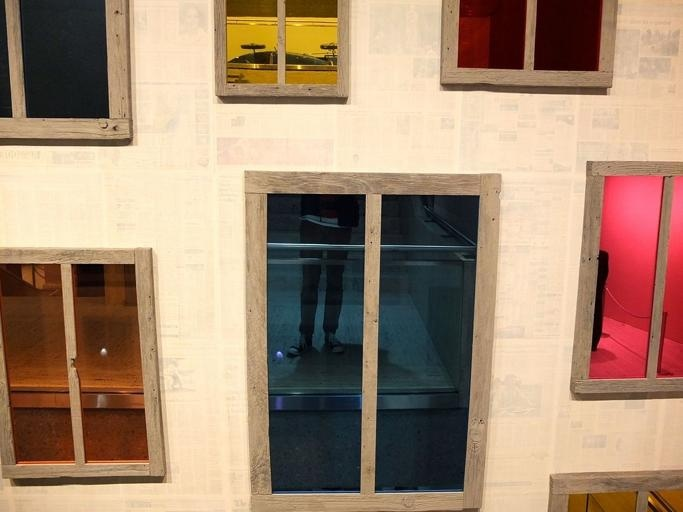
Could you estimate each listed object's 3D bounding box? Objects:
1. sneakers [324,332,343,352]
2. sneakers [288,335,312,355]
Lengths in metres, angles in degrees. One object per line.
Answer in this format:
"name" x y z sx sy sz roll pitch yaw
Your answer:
"sneakers" -0.043 0.461 5.408 0.063 0.051 0.135 -4 8 -23
"sneakers" -0.217 0.477 5.399 0.159 0.075 0.062 -2 15 -9
